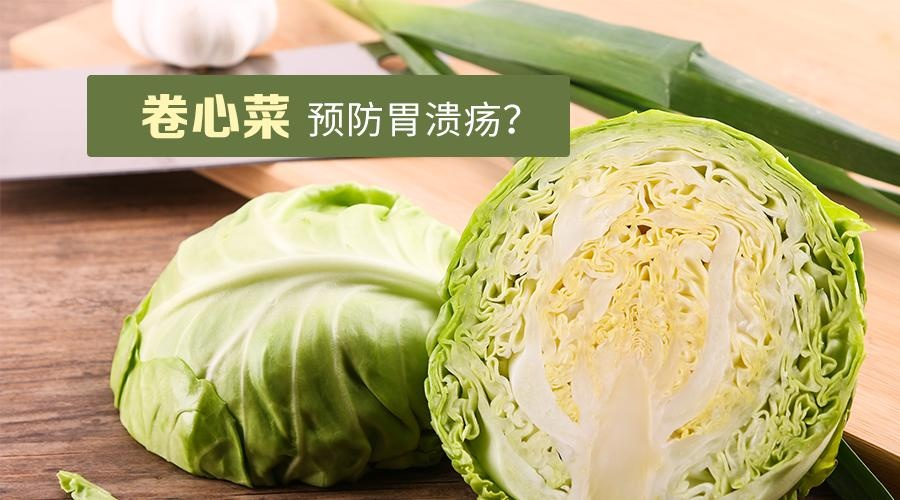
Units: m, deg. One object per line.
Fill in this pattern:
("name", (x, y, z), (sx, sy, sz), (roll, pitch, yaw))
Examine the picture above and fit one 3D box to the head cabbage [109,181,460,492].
("head cabbage", (-0.417, 0.200, 1.868), (0.859, 0.635, 0.535), (6, 28, 1))
